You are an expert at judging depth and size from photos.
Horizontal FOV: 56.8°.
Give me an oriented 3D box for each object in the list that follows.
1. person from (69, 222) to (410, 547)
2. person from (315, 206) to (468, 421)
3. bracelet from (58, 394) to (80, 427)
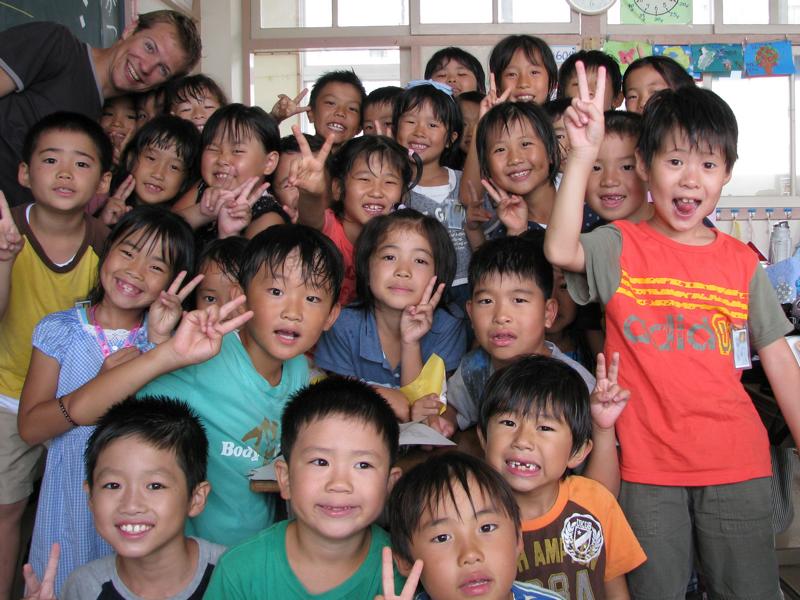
[{"bbox_3d":[-0.474,0.242,2.069,0.676,0.975,0.322,23,-2,-42],"label":"person"},{"bbox_3d":[-0.013,0.000,2.729,0.660,0.911,0.610,-1,9,-9],"label":"person"},{"bbox_3d":[-0.936,0.310,2.075,0.019,0.077,0.078,-26,24,-13],"label":"bracelet"}]
